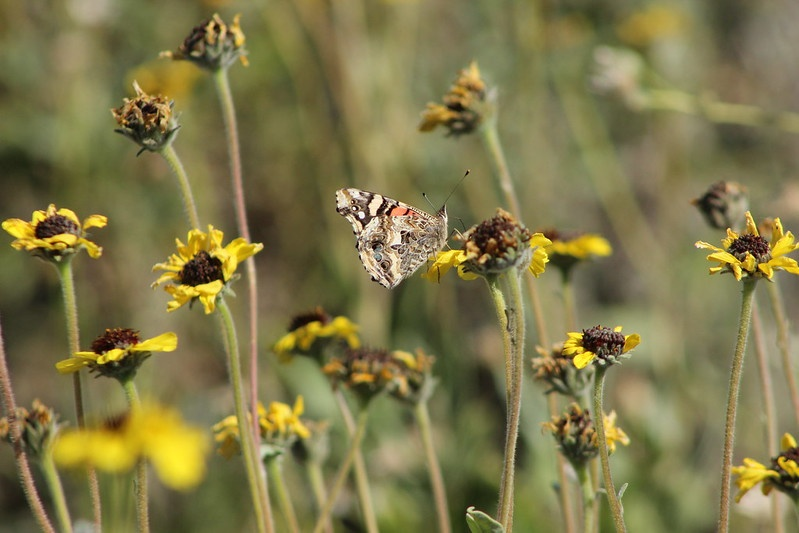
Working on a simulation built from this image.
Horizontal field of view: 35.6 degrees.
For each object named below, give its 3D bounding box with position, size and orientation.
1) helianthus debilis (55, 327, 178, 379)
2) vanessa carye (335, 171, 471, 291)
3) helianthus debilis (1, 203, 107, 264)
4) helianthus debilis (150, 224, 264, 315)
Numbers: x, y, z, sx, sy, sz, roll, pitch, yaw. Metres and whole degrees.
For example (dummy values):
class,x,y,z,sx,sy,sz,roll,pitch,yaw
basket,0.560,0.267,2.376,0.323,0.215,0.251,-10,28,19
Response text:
class,x,y,z,sx,sy,sz,roll,pitch,yaw
helianthus debilis,-0.957,0.288,4.252,0.405,0.173,0.211,-9,24,-6
vanessa carye,-0.017,-0.118,4.727,0.332,0.428,0.331,-2,-3,14
helianthus debilis,-1.208,-0.114,4.297,0.259,0.257,0.201,-4,2,-38
helianthus debilis,-0.672,0.002,4.224,0.367,0.263,0.263,-22,29,-33
